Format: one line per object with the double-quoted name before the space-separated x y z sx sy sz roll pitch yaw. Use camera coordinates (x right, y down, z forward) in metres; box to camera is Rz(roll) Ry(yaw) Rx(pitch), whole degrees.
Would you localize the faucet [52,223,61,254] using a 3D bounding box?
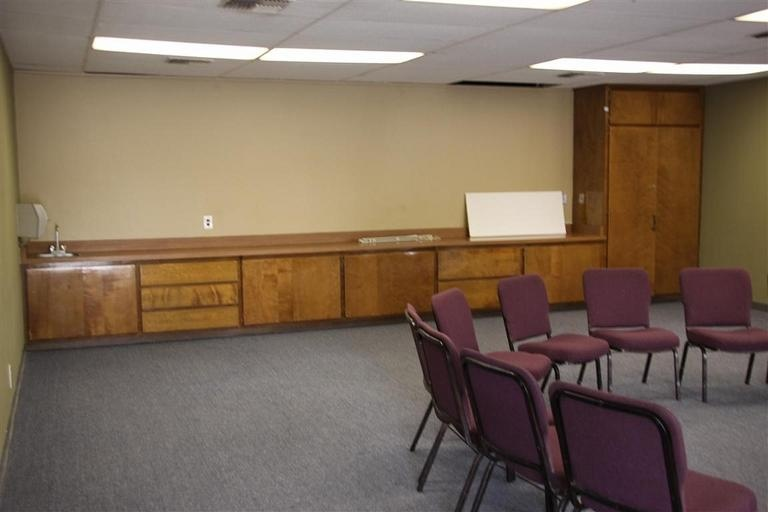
"faucet" -4.008 -0.215 6.434 0.087 0.331 0.249 -7 12 -31
